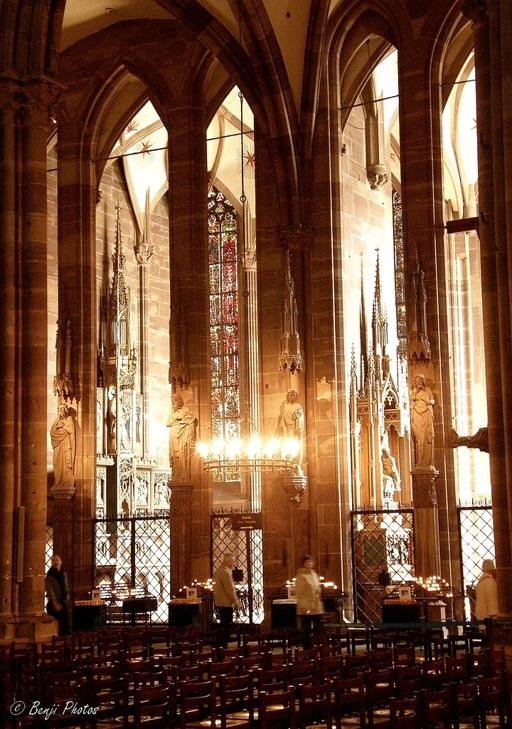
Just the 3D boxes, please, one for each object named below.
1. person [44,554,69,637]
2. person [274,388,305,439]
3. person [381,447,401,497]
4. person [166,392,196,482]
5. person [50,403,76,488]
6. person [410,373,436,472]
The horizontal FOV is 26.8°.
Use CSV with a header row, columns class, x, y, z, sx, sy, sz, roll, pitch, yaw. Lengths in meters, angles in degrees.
class,x,y,z,sx,sy,sz,roll,pitch,yaw
person,-2.733,3.128,14.656,0.297,1.063,1.218,-1,-12,-12
person,0.561,0.867,18.097,0.474,0.911,0.262,1,27,-2
person,2.651,2.067,20.772,0.245,0.889,0.605,-7,-12,16
person,-1.321,1.297,19.477,0.527,1.599,0.295,-3,-12,-2
person,-3.708,1.618,20.669,0.471,1.607,0.626,-2,-12,-10
person,2.623,0.911,16.720,0.366,1.459,0.213,-5,-12,9
